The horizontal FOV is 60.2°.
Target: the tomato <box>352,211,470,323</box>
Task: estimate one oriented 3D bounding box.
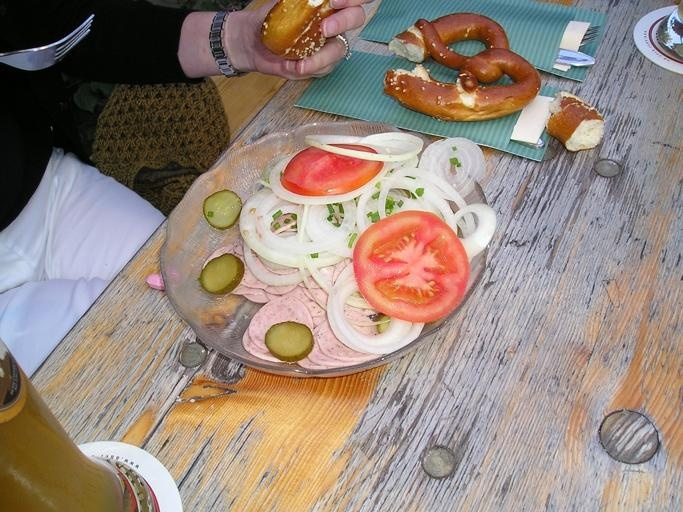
[{"bbox_3d":[0.131,0.018,1.133,0.216,0.060,0.218,-10,56,0],"label":"tomato"}]

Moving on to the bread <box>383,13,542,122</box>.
[{"bbox_3d":[0.298,-0.432,1.514,0.336,0.105,0.345,-4,52,1],"label":"bread"}]

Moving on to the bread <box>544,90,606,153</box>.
[{"bbox_3d":[0.554,-0.325,1.404,0.126,0.055,0.140,-19,79,2],"label":"bread"}]

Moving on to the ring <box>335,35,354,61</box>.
[{"bbox_3d":[0.010,-0.568,1.595,0.027,0.073,0.056,-7,43,-7],"label":"ring"}]
